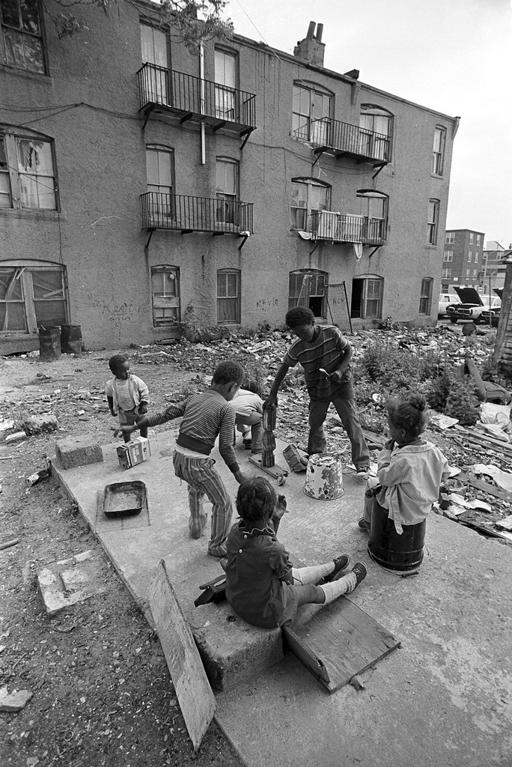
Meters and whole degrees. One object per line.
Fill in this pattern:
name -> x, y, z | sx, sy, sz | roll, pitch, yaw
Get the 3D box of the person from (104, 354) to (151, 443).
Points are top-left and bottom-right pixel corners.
person -> -1.375, 0.224, 5.215 | 0.441, 1.335, 0.310 | -8, 33, -13

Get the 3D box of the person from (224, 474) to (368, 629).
person -> 0.216, 0.815, 2.542 | 0.650, 0.821, 0.367 | -8, 8, -21

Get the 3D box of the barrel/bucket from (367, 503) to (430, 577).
barrel/bucket -> 0.958, 0.959, 3.193 | 0.327, 0.431, 0.377 | 12, 27, 32

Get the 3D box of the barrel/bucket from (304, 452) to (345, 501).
barrel/bucket -> 0.603, 0.838, 4.269 | 0.303, 0.305, 0.321 | 4, 15, -1

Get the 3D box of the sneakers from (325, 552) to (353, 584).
sneakers -> 0.522, 1.153, 3.000 | 0.082, 0.095, 0.231 | -21, 22, 50

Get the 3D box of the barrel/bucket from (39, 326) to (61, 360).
barrel/bucket -> -4.787, -0.908, 11.094 | 0.461, 0.735, 0.409 | -8, 13, -33

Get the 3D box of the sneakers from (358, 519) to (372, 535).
sneakers -> 0.818, 1.068, 3.562 | 0.095, 0.141, 0.297 | -1, -17, 7

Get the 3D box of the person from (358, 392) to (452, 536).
person -> 0.919, 0.558, 3.116 | 0.409, 0.992, 0.526 | -6, 12, -27

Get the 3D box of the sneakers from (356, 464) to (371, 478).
sneakers -> 1.038, 0.844, 4.608 | 0.073, 0.157, 0.142 | -3, -16, 0

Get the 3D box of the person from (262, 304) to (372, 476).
person -> 0.623, 0.081, 4.614 | 0.961, 1.646, 0.668 | 2, 11, 14

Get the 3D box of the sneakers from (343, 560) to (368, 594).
sneakers -> 0.612, 1.176, 2.917 | 0.074, 0.250, 0.093 | 16, -18, 43
